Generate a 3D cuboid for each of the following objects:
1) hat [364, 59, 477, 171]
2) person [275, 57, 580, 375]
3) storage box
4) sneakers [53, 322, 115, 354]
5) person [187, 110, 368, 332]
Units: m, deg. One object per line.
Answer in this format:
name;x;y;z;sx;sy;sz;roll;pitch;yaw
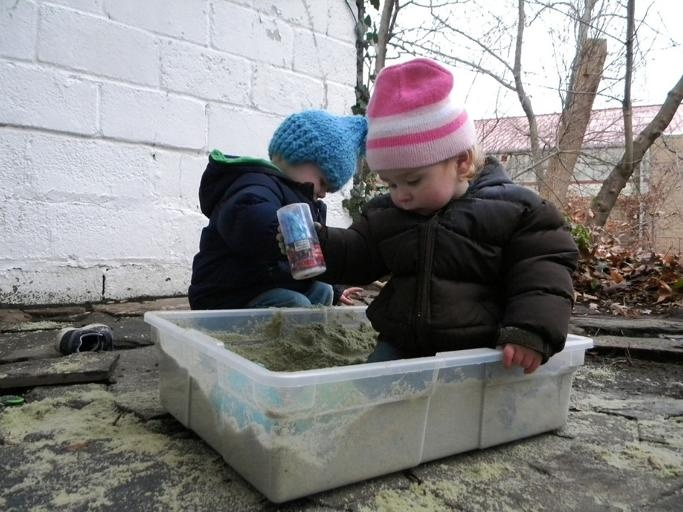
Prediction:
hat;0.272;-0.544;1.895;0.441;0.394;0.428;-5;21;11
person;0.353;0.050;1.971;1.125;1.422;0.666;1;2;33
storage box;0.135;0.458;1.517;0.912;0.228;0.642;5;-2;-32
sneakers;-1.112;0.353;2.143;0.186;0.110;0.077;6;-15;-12
person;-0.248;-0.200;2.586;0.860;1.073;0.947;9;0;28
